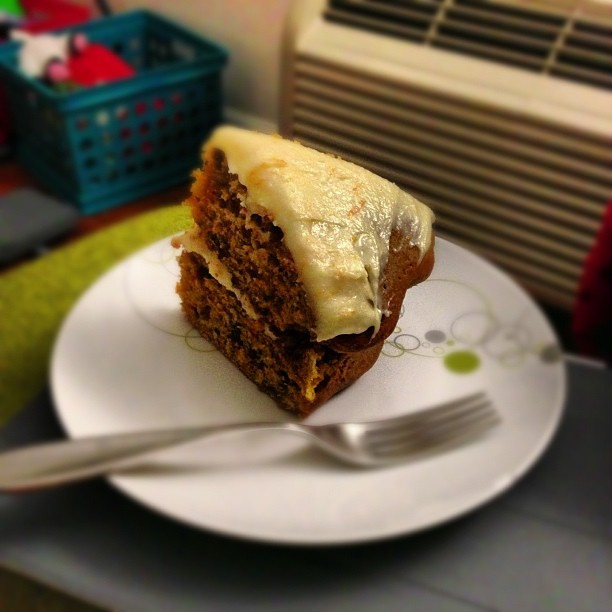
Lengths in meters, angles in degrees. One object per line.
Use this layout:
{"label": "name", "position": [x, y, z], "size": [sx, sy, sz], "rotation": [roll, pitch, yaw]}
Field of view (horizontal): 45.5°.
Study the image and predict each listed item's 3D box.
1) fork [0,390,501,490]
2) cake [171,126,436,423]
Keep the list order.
{"label": "fork", "position": [-0.076, 0.169, 0.897], "size": [0.657, 0.052, 0.067], "rotation": [-4, 36, -17]}
{"label": "cake", "position": [0.053, -0.045, 1.102], "size": [0.525, 0.359, 0.384], "rotation": [-3, 44, -5]}
